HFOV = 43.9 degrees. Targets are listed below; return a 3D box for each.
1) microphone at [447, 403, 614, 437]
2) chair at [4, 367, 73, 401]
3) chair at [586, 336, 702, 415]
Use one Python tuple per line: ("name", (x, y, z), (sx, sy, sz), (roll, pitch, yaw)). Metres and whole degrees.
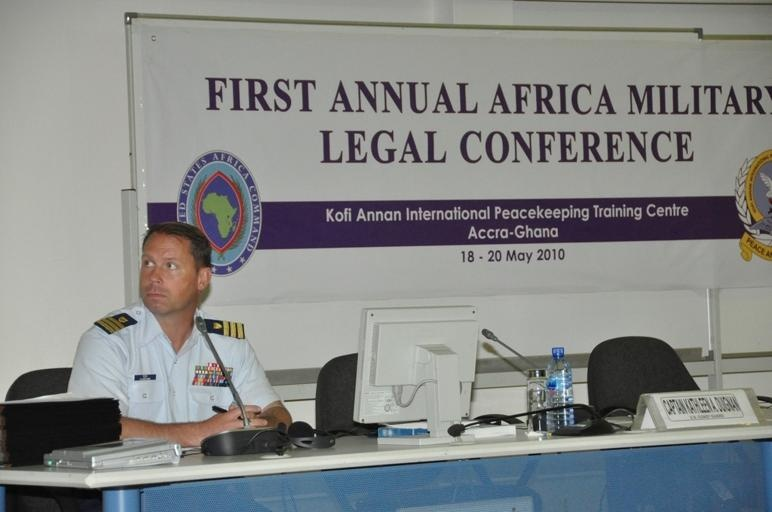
("microphone", (0.695, 0.767, 4.477), (0.414, 0.106, 0.270), (-7, -13, 22))
("chair", (-1.691, 0.669, 4.668), (0.215, 0.185, 0.216), (5, -16, -23))
("chair", (1.400, 0.661, 5.390), (0.414, 0.581, 0.468), (-2, -9, -10))
